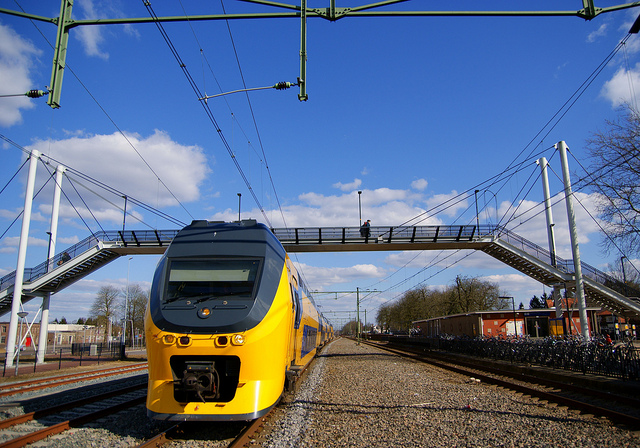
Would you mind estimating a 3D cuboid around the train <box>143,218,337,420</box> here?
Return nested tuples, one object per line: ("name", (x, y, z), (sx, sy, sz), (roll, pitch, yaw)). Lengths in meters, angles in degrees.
("train", (-2.678, 2.492, 12.521), (3.546, 4.958, 1.727), (0, -9, -19))

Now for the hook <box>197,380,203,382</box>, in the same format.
("hook", (-2.976, 3.879, 11.609), (0.119, 0.044, 0.033), (6, -12, -40))

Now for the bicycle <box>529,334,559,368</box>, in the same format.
("bicycle", (10.909, 6.216, 22.504), (0.941, 1.186, 2.035), (-2, -16, 0))

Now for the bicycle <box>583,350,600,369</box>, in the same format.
("bicycle", (10.918, 5.503, 19.031), (0.025, 0.916, 0.797), (4, -11, -18))

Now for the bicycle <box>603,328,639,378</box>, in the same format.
("bicycle", (11.314, 5.061, 17.677), (0.639, 1.414, 1.492), (-2, -9, -1))

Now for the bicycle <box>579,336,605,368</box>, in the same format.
("bicycle", (10.933, 5.339, 19.163), (0.781, 1.104, 1.520), (-3, -1, 12))

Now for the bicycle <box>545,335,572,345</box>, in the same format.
("bicycle", (11.018, 5.394, 21.646), (0.937, 0.355, 1.377), (-3, -10, 1))
